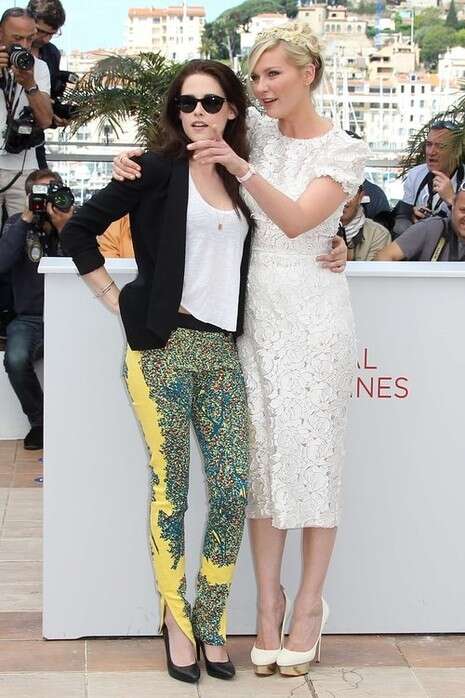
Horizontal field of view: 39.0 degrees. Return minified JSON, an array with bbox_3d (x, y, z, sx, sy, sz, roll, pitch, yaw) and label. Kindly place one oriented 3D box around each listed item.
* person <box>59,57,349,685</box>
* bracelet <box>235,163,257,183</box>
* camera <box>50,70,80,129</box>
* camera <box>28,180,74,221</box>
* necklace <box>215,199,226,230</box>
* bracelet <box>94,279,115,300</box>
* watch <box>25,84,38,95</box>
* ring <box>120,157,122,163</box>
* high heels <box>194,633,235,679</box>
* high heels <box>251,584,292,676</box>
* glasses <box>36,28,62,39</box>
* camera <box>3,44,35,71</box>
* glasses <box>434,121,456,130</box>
[{"bbox_3d":[-0.165,0.083,1.470,0.447,1.422,0.311,3,-1,-15],"label":"person"},{"bbox_3d":[0.029,-0.343,1.304,0.035,0.021,0.035,-42,11,32],"label":"bracelet"},{"bbox_3d":[-1.230,-1.937,4.891,0.159,0.270,0.145,-6,12,-19],"label":"camera"},{"bbox_3d":[-1.007,-0.829,3.669,0.194,0.168,0.186,-1,4,-21],"label":"camera"},{"bbox_3d":[-0.025,-0.284,1.403,0.018,0.064,0.037,2,-1,0],"label":"necklace"},{"bbox_3d":[-0.289,-0.134,1.508,0.039,0.010,0.038,-36,0,15],"label":"bracelet"},{"bbox_3d":[-1.280,-1.667,4.196,0.079,0.050,0.094,2,-1,-17],"label":"watch"},{"bbox_3d":[-0.229,-0.392,1.362,0.004,0.010,0.011,0,-1,-12],"label":"ring"},{"bbox_3d":[-0.034,0.755,1.622,0.052,0.063,0.155,10,-2,-36],"label":"high heels"},{"bbox_3d":[0.101,0.725,1.681,0.070,0.199,0.080,7,-12,-11],"label":"high heels"},{"bbox_3d":[-1.294,-2.190,4.540,0.110,0.033,0.106,21,17,35],"label":"glasses"},{"bbox_3d":[-1.288,-1.777,4.001,0.148,0.126,0.195,3,-1,-22],"label":"camera"},{"bbox_3d":[1.552,-1.639,4.815,0.114,0.066,0.136,2,1,6],"label":"glasses"}]
